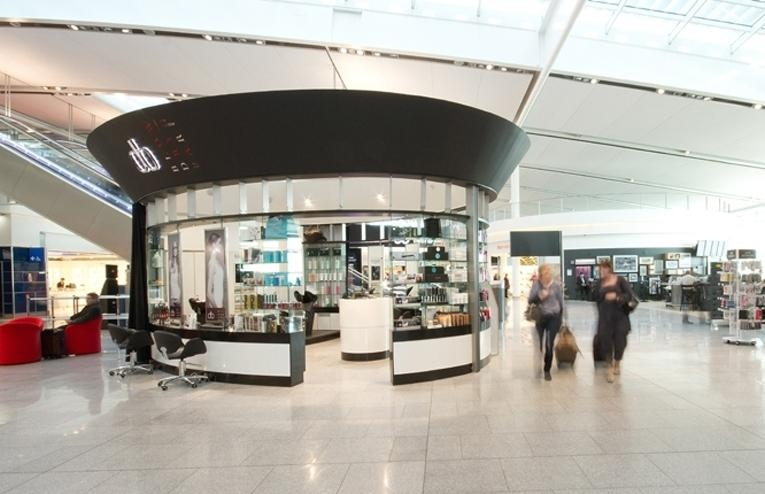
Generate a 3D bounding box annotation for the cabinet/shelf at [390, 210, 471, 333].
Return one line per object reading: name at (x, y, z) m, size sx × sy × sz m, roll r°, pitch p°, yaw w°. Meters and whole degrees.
cabinet/shelf at (0.994, 0.530, 11.481) m, size 1.656 × 2.234 × 0.971 m, roll -2°, pitch 12°, yaw -1°

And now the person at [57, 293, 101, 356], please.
person at (-7.774, 1.981, 14.052) m, size 0.924 × 1.631 × 0.602 m, roll -8°, pitch 14°, yaw -28°

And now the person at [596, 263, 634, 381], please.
person at (4.752, 1.493, 11.186) m, size 0.800 × 2.274 × 0.838 m, roll -1°, pitch -1°, yaw 28°

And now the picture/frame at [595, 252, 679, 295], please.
picture/frame at (10.511, 1.059, 21.777) m, size 2.067 × 1.167 × 0.125 m, roll 0°, pitch -13°, yaw 8°

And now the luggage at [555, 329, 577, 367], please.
luggage at (3.974, 2.181, 11.798) m, size 0.319 × 0.567 × 1.052 m, roll -3°, pitch 19°, yaw 7°

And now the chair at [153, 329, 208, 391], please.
chair at (-4.246, 2.318, 11.222) m, size 1.148 × 1.202 × 0.897 m, roll 6°, pitch 14°, yaw 31°

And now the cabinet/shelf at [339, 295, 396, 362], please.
cabinet/shelf at (-0.534, 2.052, 13.474) m, size 1.306 × 1.352 × 1.224 m, roll 2°, pitch -6°, yaw -27°

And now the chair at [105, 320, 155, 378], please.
chair at (-5.555, 2.219, 12.374) m, size 1.076 × 1.236 × 1.031 m, roll 2°, pitch -4°, yaw -43°

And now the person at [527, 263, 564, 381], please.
person at (3.480, 1.504, 11.485) m, size 0.777 × 2.149 × 0.978 m, roll 0°, pitch -1°, yaw 24°

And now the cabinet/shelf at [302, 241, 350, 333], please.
cabinet/shelf at (-1.630, 1.044, 15.688) m, size 1.113 × 2.616 × 0.715 m, roll 2°, pitch 2°, yaw 31°
